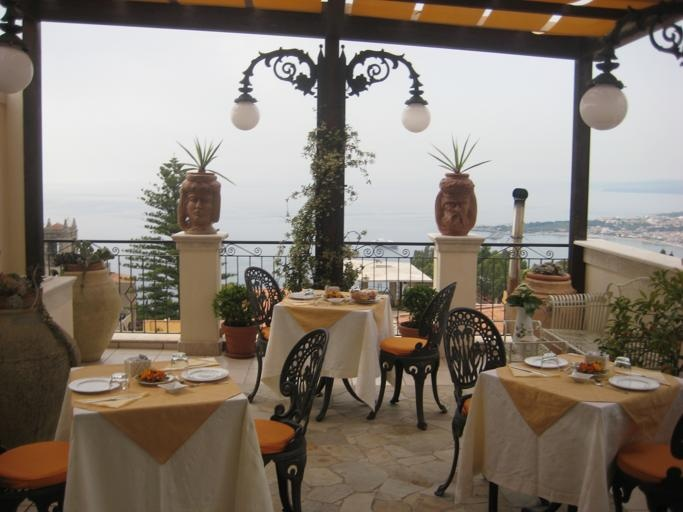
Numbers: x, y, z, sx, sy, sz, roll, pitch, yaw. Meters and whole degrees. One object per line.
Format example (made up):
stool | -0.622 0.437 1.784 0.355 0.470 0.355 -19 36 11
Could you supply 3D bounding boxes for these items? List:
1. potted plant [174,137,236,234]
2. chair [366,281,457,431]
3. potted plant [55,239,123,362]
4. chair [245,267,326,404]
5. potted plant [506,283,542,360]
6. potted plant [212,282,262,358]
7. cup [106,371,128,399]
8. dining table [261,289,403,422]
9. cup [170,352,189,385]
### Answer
potted plant | -1.568 -0.758 6.315 0.569 1.021 0.484 2 6 2
chair | 0.663 0.821 4.977 0.550 1.255 0.533 9 10 31
potted plant | -2.741 0.493 6.026 0.885 1.172 0.937 1 0 7
chair | -0.520 0.754 5.348 0.860 1.225 0.751 12 -16 -34
potted plant | 1.787 0.633 5.305 0.269 0.653 0.322 -3 -7 -36
potted plant | -1.116 0.711 6.226 0.477 0.793 0.549 -7 6 -25
cup | -1.304 0.746 3.262 0.090 0.106 0.095 2 4 0
dining table | -0.090 0.872 5.145 0.901 0.786 0.959 2 0 11
cup | -1.060 0.714 3.575 0.126 0.232 0.119 4 -1 0
